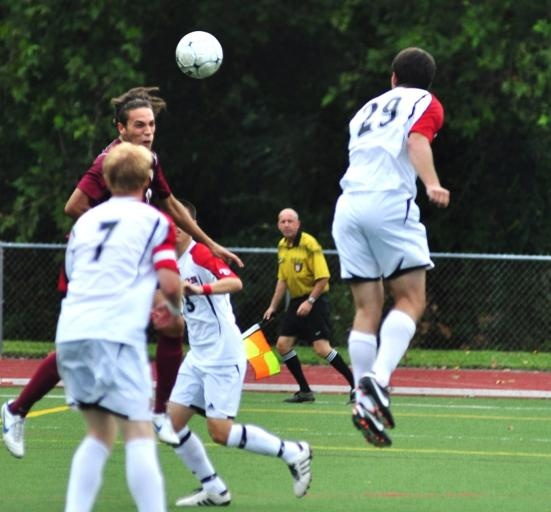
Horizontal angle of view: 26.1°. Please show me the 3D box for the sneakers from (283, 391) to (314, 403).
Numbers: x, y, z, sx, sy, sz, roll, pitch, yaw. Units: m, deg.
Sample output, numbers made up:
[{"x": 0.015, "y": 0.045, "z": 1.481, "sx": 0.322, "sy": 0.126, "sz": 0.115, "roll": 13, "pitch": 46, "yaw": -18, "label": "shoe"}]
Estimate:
[{"x": 0.257, "y": 1.639, "z": 13.729, "sx": 0.365, "sy": 0.177, "sz": 0.130, "roll": 2, "pitch": -6, "yaw": -1, "label": "sneakers"}]

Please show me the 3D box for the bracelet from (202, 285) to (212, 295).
[{"x": -0.532, "y": 0.260, "z": 9.234, "sx": 0.065, "sy": 0.071, "sz": 0.050, "roll": -14, "pitch": 23, "yaw": 24, "label": "bracelet"}]

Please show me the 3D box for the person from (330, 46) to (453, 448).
[{"x": 0.899, "y": -0.089, "z": 9.407, "sx": 0.887, "sy": 3.185, "sz": 0.719, "roll": -1, "pitch": 1, "yaw": 3, "label": "person"}]

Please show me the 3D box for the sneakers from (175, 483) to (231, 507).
[{"x": -0.571, "y": 1.894, "z": 9.424, "sx": 0.459, "sy": 0.177, "sz": 0.165, "roll": 2, "pitch": -6, "yaw": 2, "label": "sneakers"}]

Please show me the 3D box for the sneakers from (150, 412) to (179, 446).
[{"x": -0.861, "y": 1.361, "z": 9.284, "sx": 0.117, "sy": 0.339, "sz": 0.152, "roll": -31, "pitch": -4, "yaw": -7, "label": "sneakers"}]

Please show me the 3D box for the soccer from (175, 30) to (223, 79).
[{"x": -0.788, "y": -1.900, "z": 11.448, "sx": 0.457, "sy": 0.501, "sz": 0.460, "roll": -3, "pitch": 7, "yaw": -27, "label": "soccer"}]

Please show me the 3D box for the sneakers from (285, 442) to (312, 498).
[{"x": 0.193, "y": 1.655, "z": 9.453, "sx": 0.210, "sy": 0.462, "sz": 0.156, "roll": -7, "pitch": 12, "yaw": -13, "label": "sneakers"}]

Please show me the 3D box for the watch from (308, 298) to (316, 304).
[{"x": 0.414, "y": 0.513, "z": 13.743, "sx": 0.053, "sy": 0.093, "sz": 0.080, "roll": 8, "pitch": 2, "yaw": -15, "label": "watch"}]
